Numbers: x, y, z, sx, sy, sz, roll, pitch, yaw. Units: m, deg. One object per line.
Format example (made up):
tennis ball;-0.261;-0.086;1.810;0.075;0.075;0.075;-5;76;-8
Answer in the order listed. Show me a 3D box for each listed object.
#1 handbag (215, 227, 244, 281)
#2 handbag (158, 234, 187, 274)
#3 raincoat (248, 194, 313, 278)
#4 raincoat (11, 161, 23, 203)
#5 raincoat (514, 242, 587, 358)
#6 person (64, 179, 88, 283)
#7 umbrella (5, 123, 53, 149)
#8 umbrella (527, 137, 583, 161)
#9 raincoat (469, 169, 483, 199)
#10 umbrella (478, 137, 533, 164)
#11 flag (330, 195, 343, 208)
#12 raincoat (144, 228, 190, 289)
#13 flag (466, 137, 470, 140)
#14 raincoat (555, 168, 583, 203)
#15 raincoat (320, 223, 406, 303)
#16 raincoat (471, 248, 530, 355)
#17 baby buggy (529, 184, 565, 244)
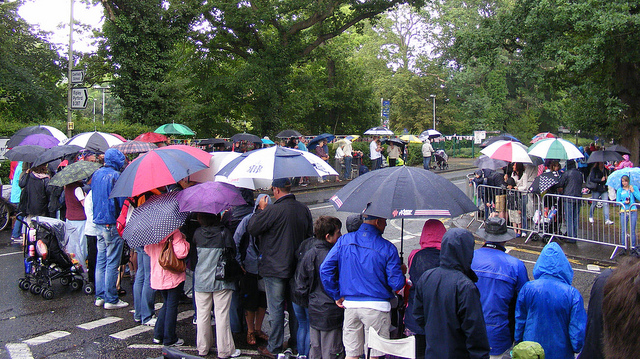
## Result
handbag;-2.495;2.010;15.479;0.629;1.406;0.640;1;0;10
handbag;-4.132;2.037;15.565;0.388;0.967;0.814;-14;-31;35
raincoat;-1.091;1.526;15.412;1.672;2.247;0.276;-1;-3;-7
raincoat;-11.535;0.090;21.362;0.325;1.516;1.506;0;-3;-30
raincoat;5.837;3.153;14.708;1.640;2.885;1.468;1;-1;11
person;-7.766;1.465;17.850;0.655;2.902;0.742;-1;-3;-24
umbrella;-11.691;-1.817;22.380;1.131;0.503;1.088;-8;16;-21
umbrella;8.778;-1.144;21.591;1.301;0.423;1.239;-3;18;-4
raincoat;6.510;0.137;23.507;0.465;1.211;1.399;-2;-3;13
umbrella;6.993;-1.078;21.316;1.158;0.533;1.114;3;17;-41
flag;0.441;0.555;14.776;0.085;0.226;0.340;15;23;-40
raincoat;-4.240;2.217;15.807;0.950;1.818;0.973;1;0;44
flag;14.690;-4.163;56.494;0.261;0.453;0.502;2;1;26
raincoat;9.382;0.183;21.242;1.164;1.283;0.778;-5;10;-17
raincoat;0.974;2.000;14.948;1.699;2.232;1.457;0;0;-8
raincoat;4.687;3.154;14.881;1.380;2.708;1.225;0;-1;4
baby buggy;8.547;1.183;21.119;0.924;2.260;0.851;3;4;30
